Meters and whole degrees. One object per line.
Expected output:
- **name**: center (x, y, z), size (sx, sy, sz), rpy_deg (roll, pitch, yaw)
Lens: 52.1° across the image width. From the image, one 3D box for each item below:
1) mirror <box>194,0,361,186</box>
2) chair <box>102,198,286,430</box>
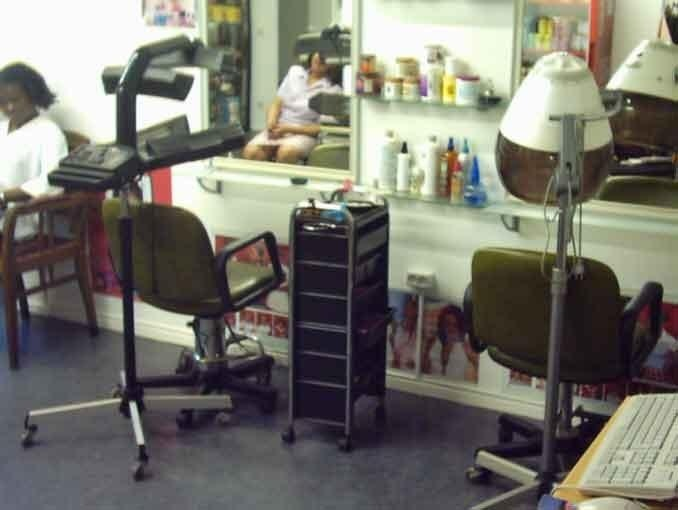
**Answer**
- **mirror**: center (-0.250, -0.704, 3.231), size (0.841, 0.841, 0.205), rpy_deg (9, 16, 30)
- **chair**: center (-0.831, 0.155, 3.820), size (0.883, 1.322, 1.039), rpy_deg (7, 13, 30)
